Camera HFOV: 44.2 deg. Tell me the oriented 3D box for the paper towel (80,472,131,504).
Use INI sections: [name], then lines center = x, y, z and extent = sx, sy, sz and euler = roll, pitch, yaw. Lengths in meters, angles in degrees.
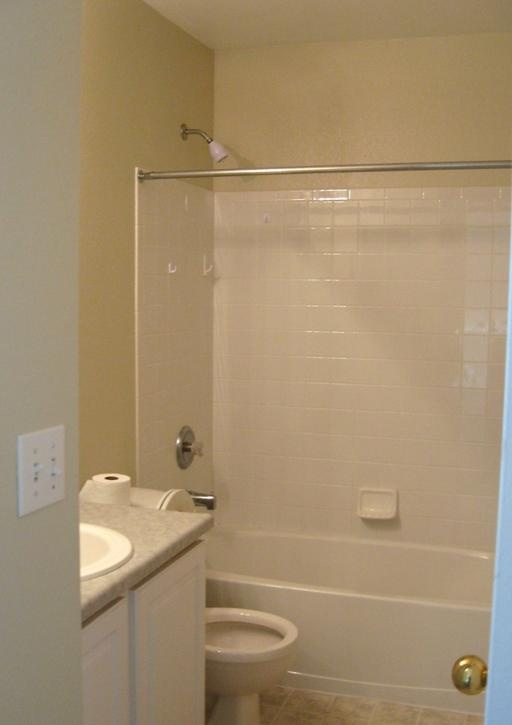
[paper towel]
center = -0.396, 0.330, 1.728
extent = 0.085, 0.055, 0.087
euler = 0, 4, 5
